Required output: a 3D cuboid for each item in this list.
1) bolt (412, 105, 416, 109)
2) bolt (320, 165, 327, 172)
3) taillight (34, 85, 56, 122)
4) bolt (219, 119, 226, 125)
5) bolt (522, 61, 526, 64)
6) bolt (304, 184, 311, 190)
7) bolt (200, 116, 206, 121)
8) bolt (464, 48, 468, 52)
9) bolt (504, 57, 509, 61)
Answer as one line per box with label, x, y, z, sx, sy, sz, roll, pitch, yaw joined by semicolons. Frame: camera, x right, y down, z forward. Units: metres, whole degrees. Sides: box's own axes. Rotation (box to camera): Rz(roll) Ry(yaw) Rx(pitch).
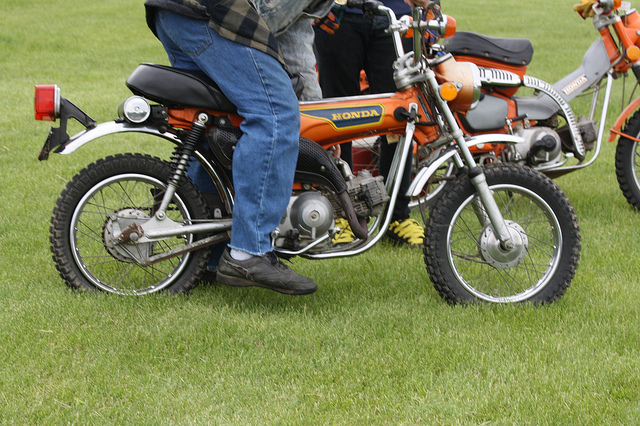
bolt;0.660;-0.751;5.133;0.027;0.030;0.006;1;-1;-5
bolt;0.017;-0.310;5.003;0.029;0.032;0.007;-7;12;2
taillight;-1.873;-0.755;4.942;0.132;0.224;0.201;-1;25;-5
bolt;-0.674;-0.620;4.942;0.035;0.039;0.009;11;-6;-4
bolt;1.803;-1.334;6.435;0.022;0.024;0.005;-1;-1;-8
bolt;-0.094;-0.185;5.073;0.033;0.036;0.008;-17;14;-5
bolt;-0.796;-0.642;4.916;0.030;0.024;0.006;-4;24;-12
bolt;1.262;-1.416;6.315;0.026;0.029;0.006;2;-5;-11
bolt;1.643;-1.354;6.401;0.028;0.031;0.008;4;-6;-12
